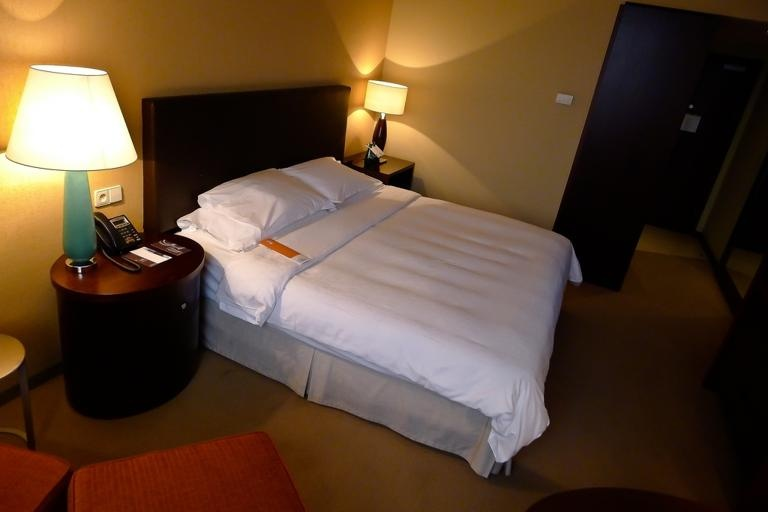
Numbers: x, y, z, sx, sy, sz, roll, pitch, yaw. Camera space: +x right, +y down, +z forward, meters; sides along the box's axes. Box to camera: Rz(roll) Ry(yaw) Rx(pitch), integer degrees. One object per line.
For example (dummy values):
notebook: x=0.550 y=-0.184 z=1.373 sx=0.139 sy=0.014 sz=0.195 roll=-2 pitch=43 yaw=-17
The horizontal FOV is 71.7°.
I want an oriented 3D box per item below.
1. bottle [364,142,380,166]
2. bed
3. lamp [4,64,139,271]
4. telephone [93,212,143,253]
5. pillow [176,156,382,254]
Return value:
bottle: x=-0.115 y=-1.041 z=5.517 sx=0.172 sy=0.223 sz=0.063 roll=-6 pitch=10 yaw=-32
bed: x=-0.036 y=-0.021 z=3.905 sx=2.947 sy=1.684 sz=1.866 roll=22 pitch=32 yaw=23
lamp: x=-1.806 y=-0.501 z=3.108 sx=0.430 sy=1.069 sz=0.567 roll=25 pitch=32 yaw=29
telephone: x=-1.774 y=-0.177 z=3.471 sx=0.382 sy=0.160 sz=0.282 roll=26 pitch=20 yaw=20
pillow: x=-0.842 y=-0.411 z=3.969 sx=0.659 sy=0.249 sz=1.610 roll=28 pitch=34 yaw=19
